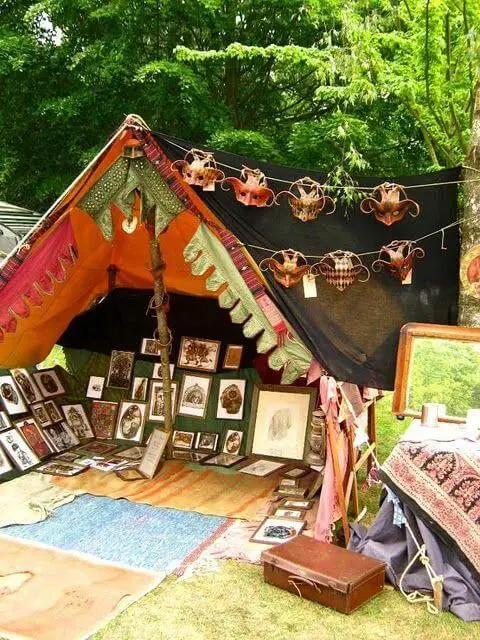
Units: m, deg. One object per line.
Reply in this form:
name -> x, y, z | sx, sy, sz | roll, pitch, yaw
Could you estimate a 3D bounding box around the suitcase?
suitcase -> 0.436, 1.257, 2.430 | 0.511, 0.218, 0.409 | 1, 3, 44
